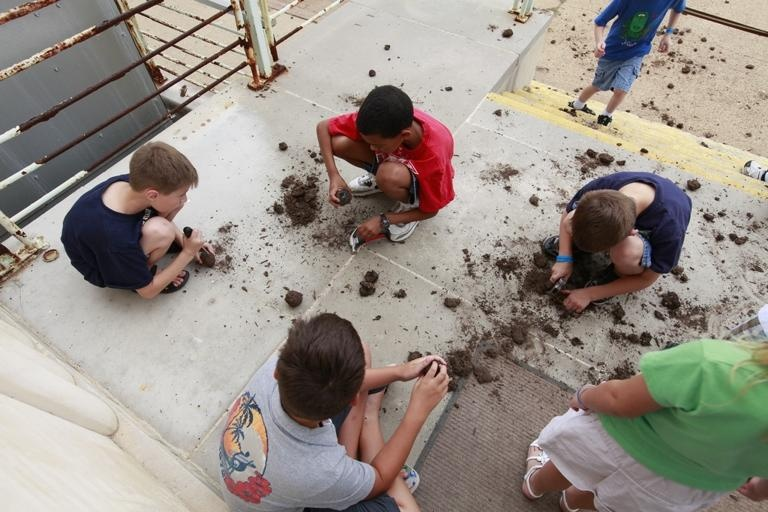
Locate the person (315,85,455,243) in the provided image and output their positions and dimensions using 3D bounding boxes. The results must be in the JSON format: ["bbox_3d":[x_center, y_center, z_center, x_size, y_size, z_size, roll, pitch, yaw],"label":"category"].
[{"bbox_3d":[0.029,-0.665,3.505,0.857,0.929,0.780,-3,55,-11],"label":"person"}]

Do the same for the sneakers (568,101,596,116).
[{"bbox_3d":[2.016,-1.502,5.265,0.313,0.133,0.113,-1,56,-11],"label":"sneakers"}]

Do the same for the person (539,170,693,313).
[{"bbox_3d":[1.494,-0.134,3.395,0.789,0.695,0.688,-8,57,-14],"label":"person"}]

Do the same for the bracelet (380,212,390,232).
[{"bbox_3d":[-0.005,-0.232,3.543,0.066,0.109,0.110,-5,94,-7],"label":"bracelet"}]

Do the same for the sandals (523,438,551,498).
[{"bbox_3d":[0.898,1.225,3.053,0.152,0.102,0.369,12,68,25],"label":"sandals"}]

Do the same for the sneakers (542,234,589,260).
[{"bbox_3d":[1.225,-0.054,3.559,0.294,0.127,0.116,21,100,26],"label":"sneakers"}]

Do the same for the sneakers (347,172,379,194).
[{"bbox_3d":[-0.156,-0.515,3.793,0.258,0.162,0.110,-6,73,-4],"label":"sneakers"}]
